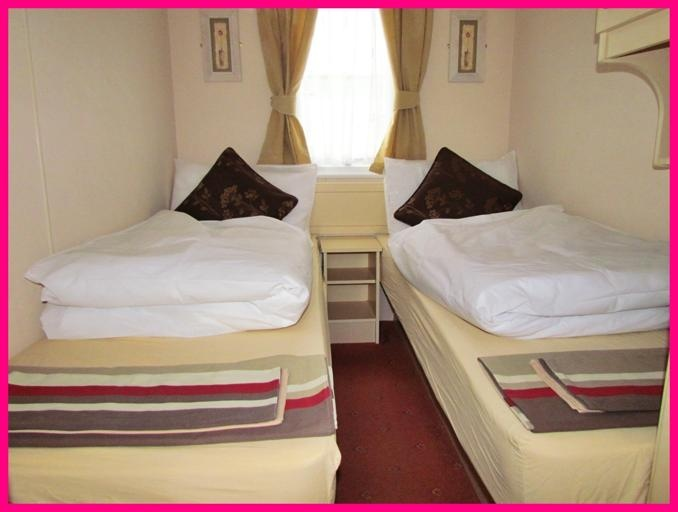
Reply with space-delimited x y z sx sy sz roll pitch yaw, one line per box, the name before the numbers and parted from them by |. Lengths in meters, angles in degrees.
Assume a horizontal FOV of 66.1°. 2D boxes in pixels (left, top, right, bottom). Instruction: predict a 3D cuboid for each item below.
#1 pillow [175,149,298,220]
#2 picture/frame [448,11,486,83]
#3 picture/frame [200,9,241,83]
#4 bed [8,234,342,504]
pillow | -0.684 -0.339 3.412 0.698 0.219 0.715 -2 -1 -29
picture/frame | 0.877 -1.444 3.585 0.262 0.461 0.053 -4 17 -9
picture/frame | -0.788 -1.409 3.482 0.252 0.444 0.070 -4 17 -9
bed | -0.499 0.359 1.456 0.724 0.188 0.760 -4 28 -5
